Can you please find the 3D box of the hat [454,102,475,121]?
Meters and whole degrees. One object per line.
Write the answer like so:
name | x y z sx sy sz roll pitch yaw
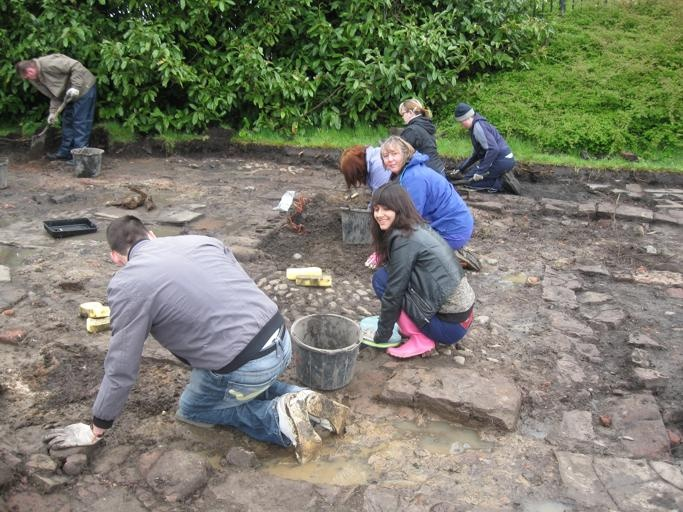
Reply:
hat | 1.842 -2.134 8.589 0.280 0.257 0.199 13 28 10

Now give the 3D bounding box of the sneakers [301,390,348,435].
sneakers | -0.130 1.179 4.455 0.478 0.182 0.280 -1 31 16

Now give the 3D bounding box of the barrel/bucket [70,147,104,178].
barrel/bucket | -4.111 -1.499 9.262 0.497 0.378 0.520 2 7 0

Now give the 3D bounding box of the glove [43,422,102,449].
glove | -1.941 1.302 4.160 0.352 0.163 0.189 -1 60 -10

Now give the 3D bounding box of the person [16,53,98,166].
person | -4.828 -2.516 9.924 1.076 1.748 0.622 -5 30 -23

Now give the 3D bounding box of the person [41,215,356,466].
person | -0.992 0.649 4.162 1.905 1.561 0.716 5 27 -5

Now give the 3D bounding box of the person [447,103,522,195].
person | 2.210 -1.657 8.953 1.145 1.347 0.810 9 19 43

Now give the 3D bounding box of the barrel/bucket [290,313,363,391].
barrel/bucket | -0.141 0.821 4.888 0.552 0.418 0.550 4 25 -2

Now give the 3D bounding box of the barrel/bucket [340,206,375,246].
barrel/bucket | 0.174 -0.343 6.681 0.400 0.406 0.400 0 13 0

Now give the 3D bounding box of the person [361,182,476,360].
person | 0.654 0.111 5.091 1.093 1.501 0.774 2 20 12

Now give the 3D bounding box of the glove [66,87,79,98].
glove | -4.538 -2.730 9.603 0.154 0.144 0.182 10 20 28

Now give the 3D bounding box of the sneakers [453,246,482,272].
sneakers | 1.438 -0.005 6.623 0.260 0.150 0.372 4 18 -4

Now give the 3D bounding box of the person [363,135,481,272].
person | 0.793 -0.478 6.039 1.072 1.534 0.653 -6 21 11

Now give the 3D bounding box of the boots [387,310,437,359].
boots | 0.634 0.659 5.350 0.470 0.606 0.338 -4 17 10
